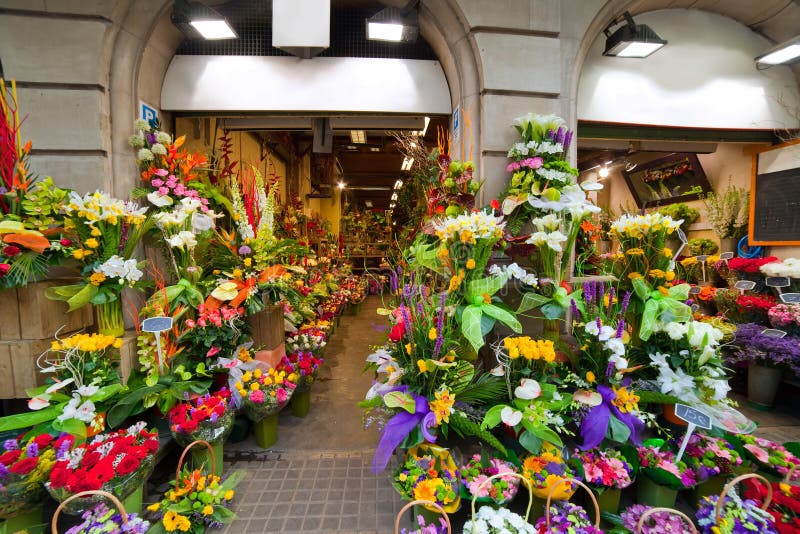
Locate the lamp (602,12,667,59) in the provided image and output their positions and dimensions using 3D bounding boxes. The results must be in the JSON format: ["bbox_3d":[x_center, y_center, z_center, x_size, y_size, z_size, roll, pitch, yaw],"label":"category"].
[{"bbox_3d":[2.330,-2.352,5.580,0.456,0.429,0.519,0,5,-8],"label":"lamp"}]
